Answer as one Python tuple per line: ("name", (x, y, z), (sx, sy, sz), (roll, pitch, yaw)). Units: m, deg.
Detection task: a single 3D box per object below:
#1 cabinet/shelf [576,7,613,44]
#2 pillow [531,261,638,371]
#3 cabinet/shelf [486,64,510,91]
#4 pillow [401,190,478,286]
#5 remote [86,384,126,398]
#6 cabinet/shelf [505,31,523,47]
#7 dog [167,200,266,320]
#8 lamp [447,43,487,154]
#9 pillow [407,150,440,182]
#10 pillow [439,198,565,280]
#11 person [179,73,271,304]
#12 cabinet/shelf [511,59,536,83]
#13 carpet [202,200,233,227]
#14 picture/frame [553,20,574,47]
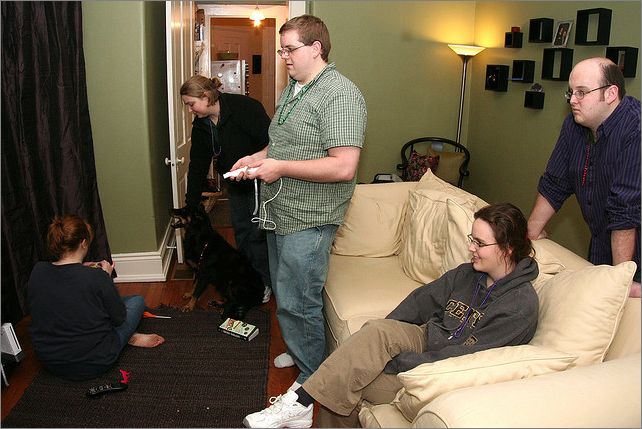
("cabinet/shelf", (2.078, -1.427, 3.664), (0.129, 0.252, 0.258), (-4, 22, -7))
("pillow", (1.284, 0.471, 2.365), (0.142, 0.512, 0.491), (16, -9, -24))
("cabinet/shelf", (1.705, -1.314, 4.649), (0.122, 0.234, 0.247), (1, 15, -8))
("pillow", (0.719, 0.138, 3.515), (0.282, 0.497, 0.511), (15, 12, -23))
("remote", (-1.402, 1.144, 3.153), (0.160, 0.046, 0.090), (0, 3, -24))
("cabinet/shelf", (1.750, -1.577, 4.435), (0.123, 0.175, 0.173), (-1, 19, -2))
("dog", (-0.860, 0.390, 4.051), (0.771, 0.918, 0.477), (7, 9, -12))
("lamp", (1.476, -1.211, 5.065), (0.376, 1.086, 0.391), (0, 18, 0))
("pillow", (1.032, -0.491, 4.937), (0.316, 0.321, 0.095), (19, 3, 39))
("pillow", (1.144, 0.268, 2.860), (0.166, 0.445, 0.467), (28, -37, -27))
("person", (-0.666, -0.158, 3.849), (0.748, 1.810, 0.589), (-10, -8, 11))
("cabinet/shelf", (1.826, -1.287, 4.342), (0.105, 0.211, 0.210), (0, 17, -4))
("carpet", (-1.286, -0.001, 6.102), (0.248, 0.018, 0.746), (-1, 19, -4))
("picture/frame", (1.975, -1.470, 3.934), (0.032, 0.250, 0.193), (6, 19, -22))
